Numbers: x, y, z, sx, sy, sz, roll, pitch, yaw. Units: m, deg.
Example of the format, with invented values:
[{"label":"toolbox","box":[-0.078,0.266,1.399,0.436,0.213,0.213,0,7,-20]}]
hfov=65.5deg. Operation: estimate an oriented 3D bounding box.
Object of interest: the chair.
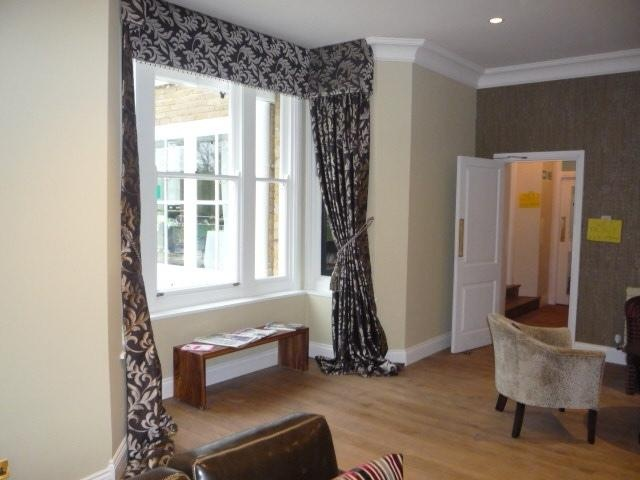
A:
[{"label":"chair","box":[1.825,1.089,4.163,0.757,0.877,0.865,1,4,8]}]

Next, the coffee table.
[{"label":"coffee table","box":[-0.730,1.158,4.776,1.286,0.527,0.483,-7,11,-44]}]
